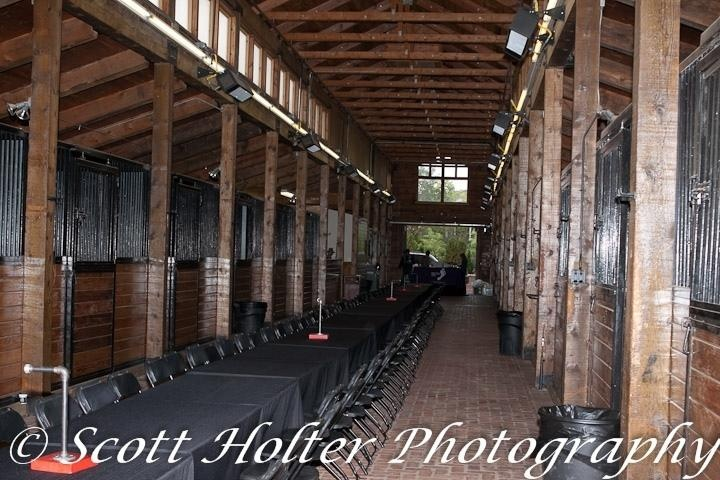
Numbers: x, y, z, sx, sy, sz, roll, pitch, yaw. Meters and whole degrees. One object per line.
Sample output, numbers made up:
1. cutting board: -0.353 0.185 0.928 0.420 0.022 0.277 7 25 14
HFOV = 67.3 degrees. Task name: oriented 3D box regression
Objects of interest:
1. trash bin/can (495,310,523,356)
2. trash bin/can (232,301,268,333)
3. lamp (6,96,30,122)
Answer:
1. trash bin/can: 2.901 1.752 10.659 0.555 0.812 0.761 5 2 -8
2. trash bin/can: -2.157 1.496 10.898 0.723 0.587 0.767 -3 -8 10
3. lamp: -4.076 -1.590 6.494 0.209 0.269 0.734 3 1 -34
